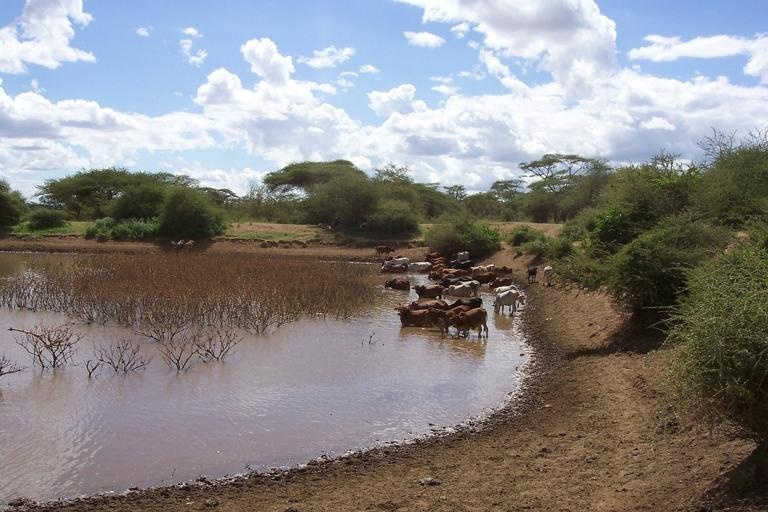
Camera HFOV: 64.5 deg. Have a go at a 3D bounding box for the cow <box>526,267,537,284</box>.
[{"bbox_3d":[6.923,0.891,28.436,0.408,0.844,1.370,5,12,13],"label":"cow"}]

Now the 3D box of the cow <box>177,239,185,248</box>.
[{"bbox_3d":[-14.306,-0.848,42.580,0.529,0.311,0.636,6,7,-38],"label":"cow"}]

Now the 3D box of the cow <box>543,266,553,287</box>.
[{"bbox_3d":[7.240,0.957,26.885,0.374,0.819,1.169,6,13,15],"label":"cow"}]

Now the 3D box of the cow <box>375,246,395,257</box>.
[{"bbox_3d":[0.169,-0.460,41.657,1.849,0.904,0.459,-2,41,-6],"label":"cow"}]
